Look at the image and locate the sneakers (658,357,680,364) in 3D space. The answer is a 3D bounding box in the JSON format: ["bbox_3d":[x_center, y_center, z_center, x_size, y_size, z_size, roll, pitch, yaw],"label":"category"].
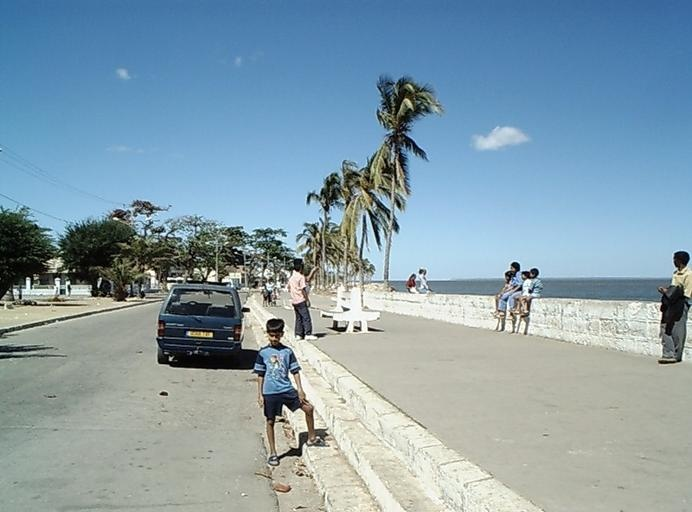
[{"bbox_3d":[5.073,1.640,7.802,0.286,0.120,0.108,-3,-4,15],"label":"sneakers"}]

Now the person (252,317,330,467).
[{"bbox_3d":[-0.695,1.570,5.845,0.755,1.641,0.584,3,-3,-10],"label":"person"}]

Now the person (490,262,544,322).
[{"bbox_3d":[4.572,1.148,12.773,0.795,1.599,1.825,3,-3,-9],"label":"person"}]

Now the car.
[{"bbox_3d":[-3.341,1.521,11.361,1.752,1.832,2.201,3,-3,-19],"label":"car"}]

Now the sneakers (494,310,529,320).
[{"bbox_3d":[4.253,1.496,12.685,0.623,0.272,0.195,-5,1,21],"label":"sneakers"}]

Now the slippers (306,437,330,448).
[{"bbox_3d":[-0.322,2.157,5.743,0.209,0.085,0.111,0,-2,3],"label":"slippers"}]

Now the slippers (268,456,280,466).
[{"bbox_3d":[-0.821,2.324,5.683,0.134,0.123,0.164,3,-3,-8],"label":"slippers"}]
